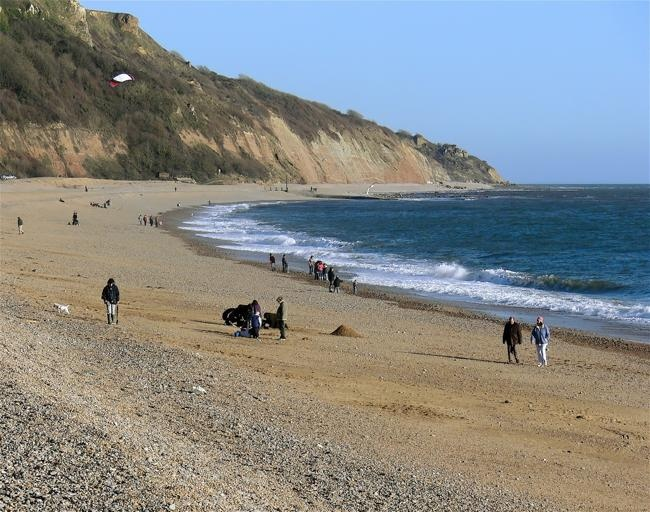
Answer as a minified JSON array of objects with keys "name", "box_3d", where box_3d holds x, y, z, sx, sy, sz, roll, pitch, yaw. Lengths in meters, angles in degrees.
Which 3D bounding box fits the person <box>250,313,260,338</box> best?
[{"name":"person","box_3d":[-1.937,1.897,22.799,0.283,0.705,0.315,5,9,2]}]

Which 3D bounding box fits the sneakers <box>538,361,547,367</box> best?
[{"name":"sneakers","box_3d":[5.877,2.925,22.419,0.119,0.061,0.171,7,11,43]}]

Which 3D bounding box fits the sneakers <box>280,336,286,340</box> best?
[{"name":"sneakers","box_3d":[-1.166,2.257,22.851,0.156,0.195,0.084,2,12,-4]}]

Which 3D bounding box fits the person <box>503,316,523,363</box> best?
[{"name":"person","box_3d":[5.230,2.206,23.035,0.534,1.312,1.756,7,9,14]}]

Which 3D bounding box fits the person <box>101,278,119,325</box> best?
[{"name":"person","box_3d":[-5.621,1.171,21.700,0.405,1.171,0.862,2,9,-16]}]
